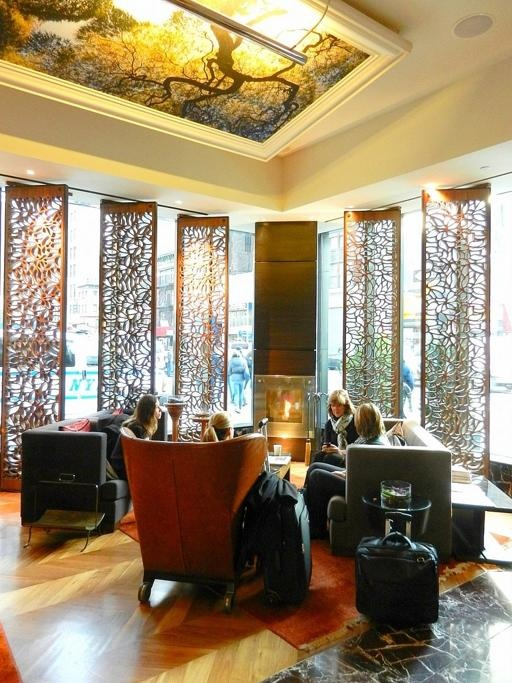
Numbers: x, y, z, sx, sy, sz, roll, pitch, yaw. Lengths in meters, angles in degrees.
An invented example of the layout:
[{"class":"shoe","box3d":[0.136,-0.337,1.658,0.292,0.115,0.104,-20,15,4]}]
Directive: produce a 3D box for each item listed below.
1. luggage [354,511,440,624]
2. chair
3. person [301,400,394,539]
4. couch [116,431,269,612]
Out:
[{"class":"luggage","box3d":[0.761,1.260,2.844,0.428,0.463,0.257,0,2,15]},{"class":"chair","box3d":[-1.401,1.270,3.974,0.504,0.395,0.502,4,-8,3]},{"class":"person","box3d":[0.658,0.960,4.052,0.653,1.030,0.403,3,13,-9]},{"class":"couch","box3d":[-0.374,1.016,3.199,0.914,0.899,0.802,-3,-7,22]}]
